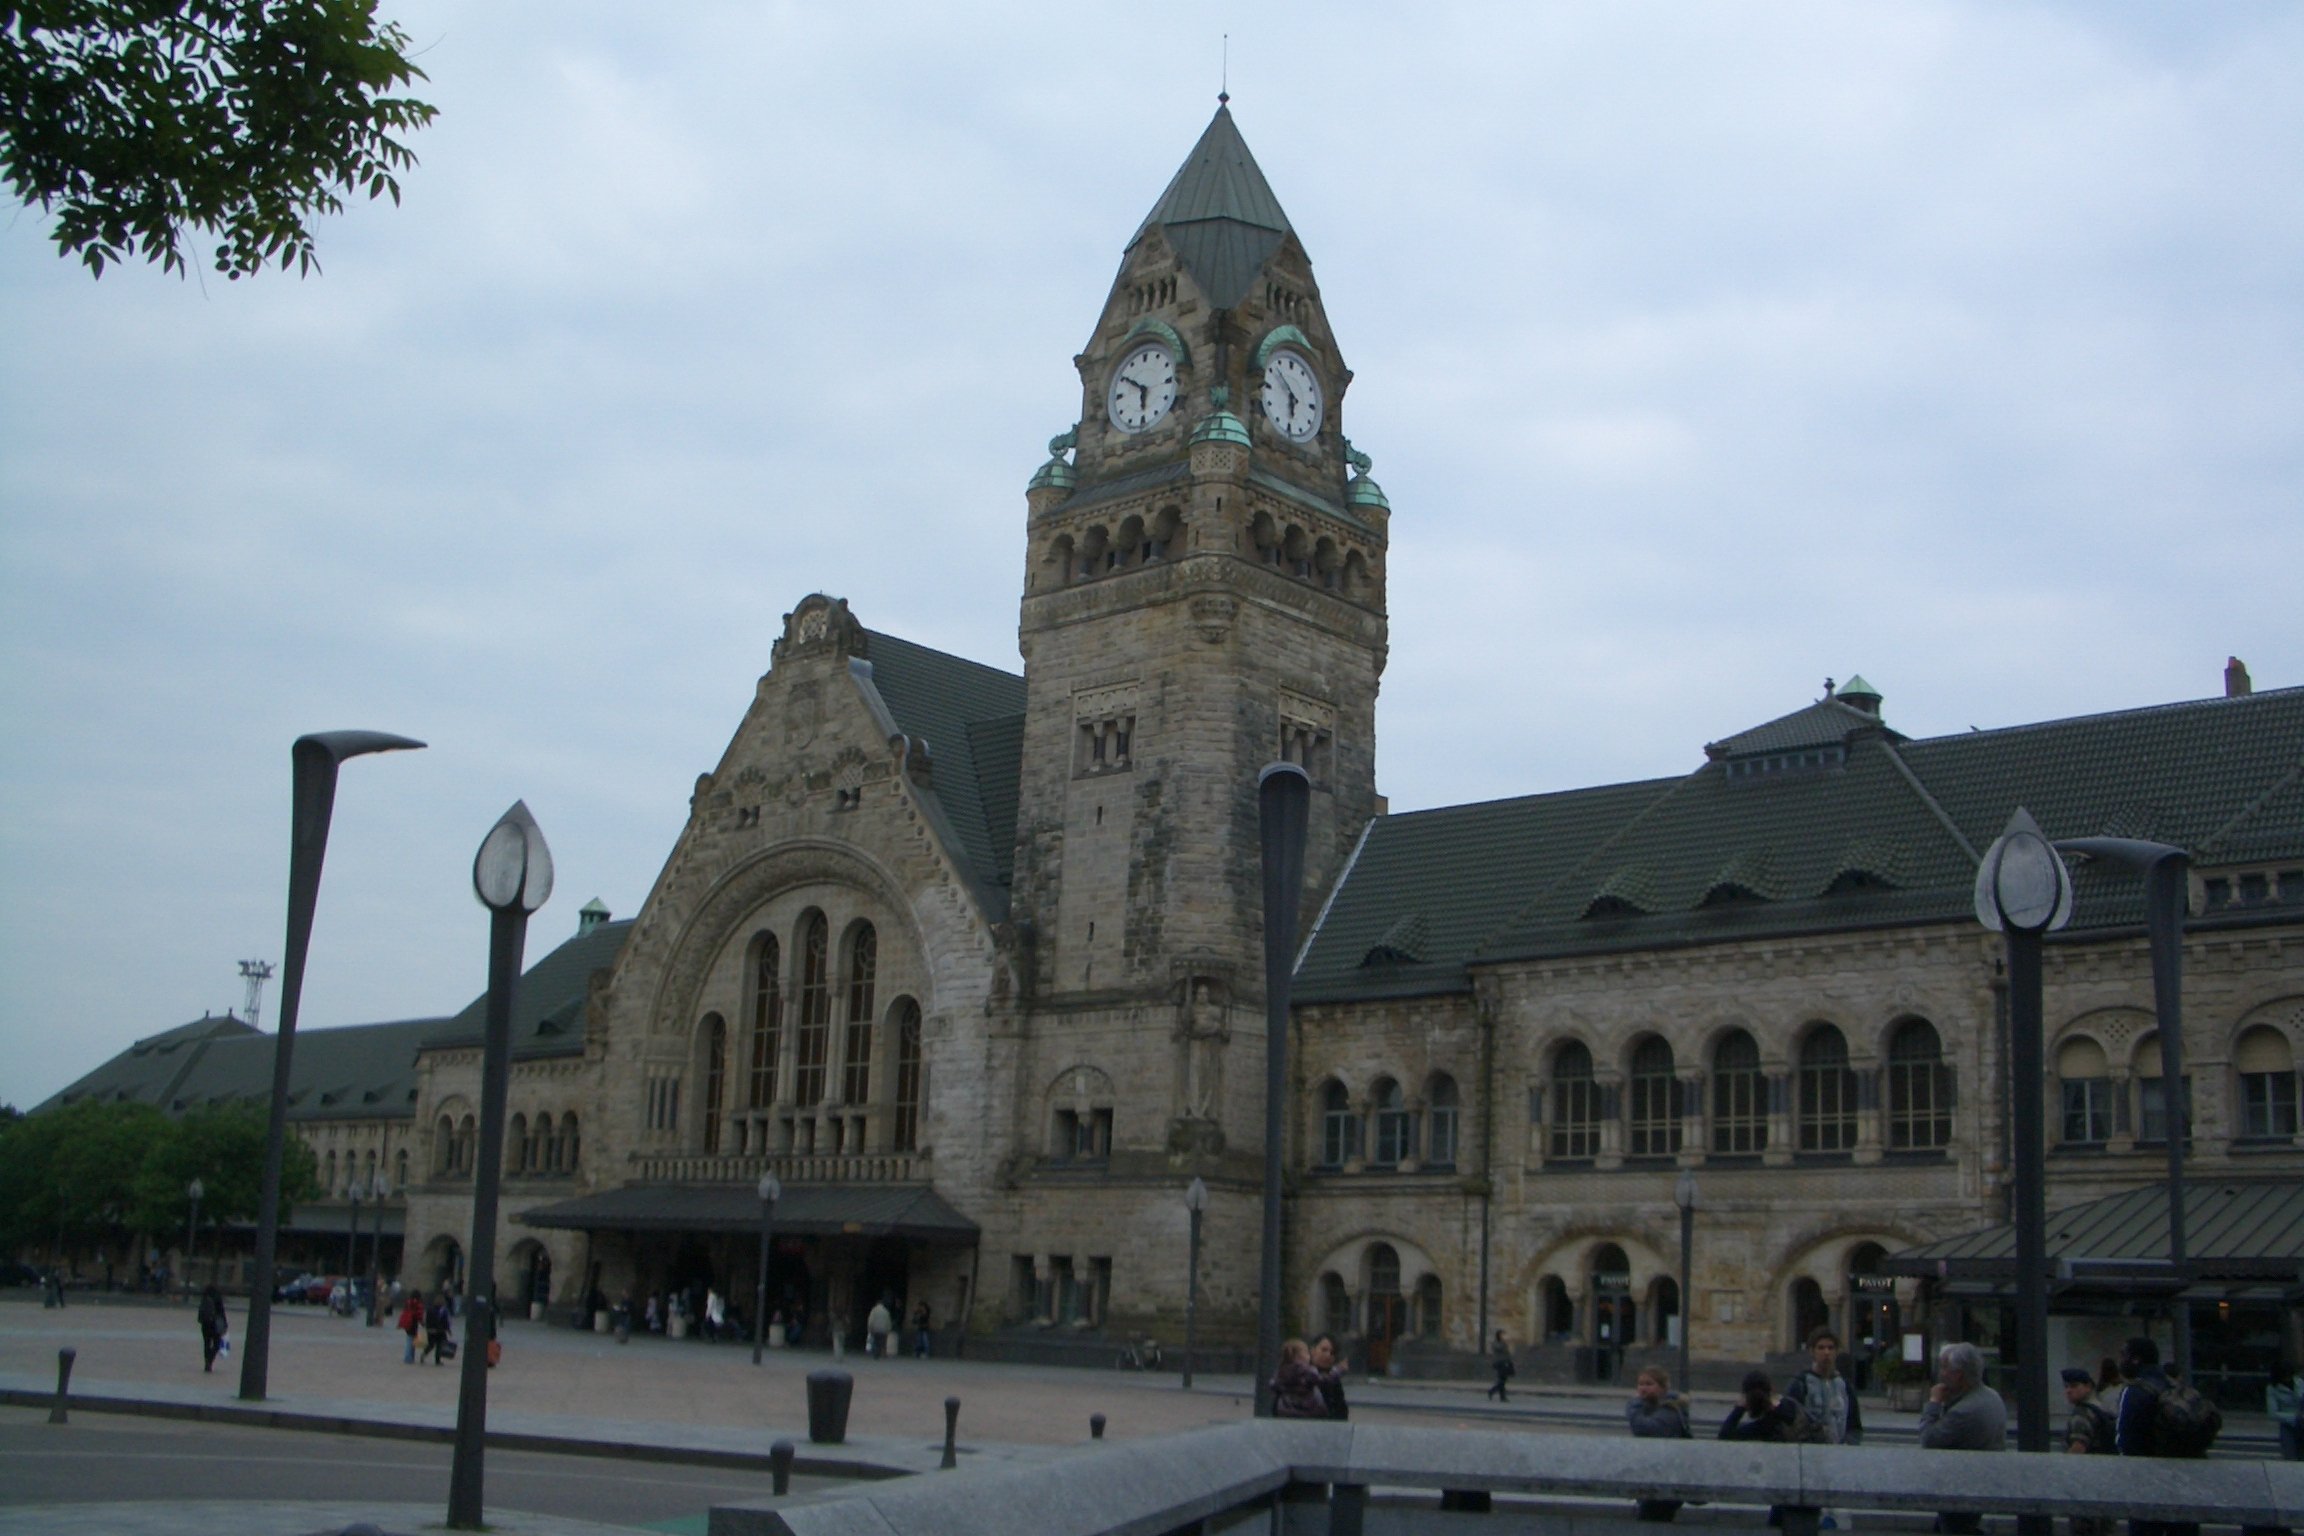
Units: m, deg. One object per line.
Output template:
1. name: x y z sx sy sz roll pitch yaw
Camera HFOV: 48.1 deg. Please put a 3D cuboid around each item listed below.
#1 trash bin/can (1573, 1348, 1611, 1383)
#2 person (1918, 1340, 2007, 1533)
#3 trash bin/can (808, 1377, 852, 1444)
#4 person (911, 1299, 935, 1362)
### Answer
1. trash bin/can: 10.450 14.125 61.306 1.006 0.747 0.308 4 -16 -5
2. person: 9.116 7.022 29.029 0.840 1.200 2.297 -2 -15 16
3. trash bin/can: -5.007 9.908 40.019 0.577 1.091 1.006 4 -15 -2
4. person: -6.290 15.397 71.041 0.565 1.438 1.152 5 -16 -8
